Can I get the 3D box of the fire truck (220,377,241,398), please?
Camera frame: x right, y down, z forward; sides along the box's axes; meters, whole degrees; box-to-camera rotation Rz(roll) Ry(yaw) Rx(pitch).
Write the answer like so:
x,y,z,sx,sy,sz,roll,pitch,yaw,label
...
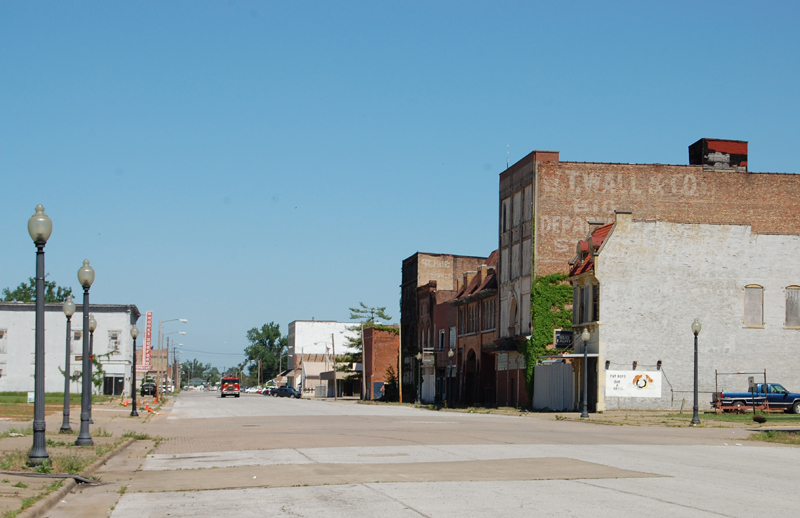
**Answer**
x,y,z,sx,sy,sz,roll,pitch,yaw,label
-19.938,14.921,164.818,1.699,1.833,3.404,0,-8,-5,fire truck
